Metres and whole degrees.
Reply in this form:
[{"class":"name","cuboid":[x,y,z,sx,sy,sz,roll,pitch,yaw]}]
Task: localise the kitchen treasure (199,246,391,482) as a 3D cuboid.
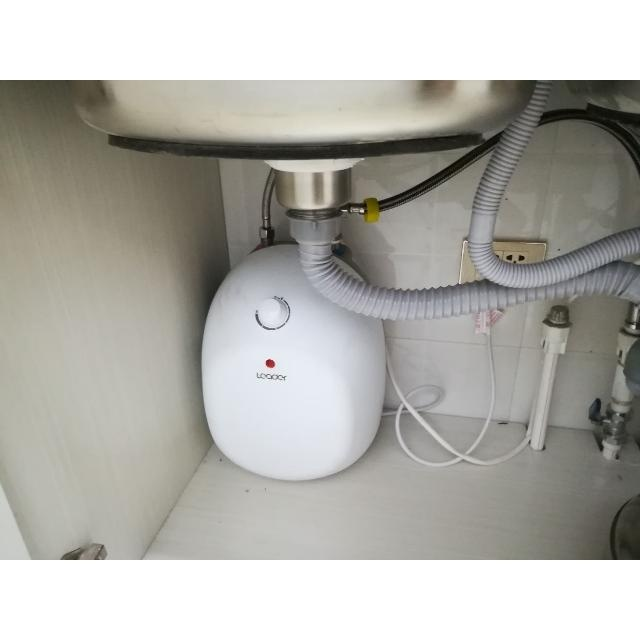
[{"class":"kitchen treasure","cuboid":[-0.025,0.079,1.005,0.279,0.262,0.387,9,-55,14]}]
